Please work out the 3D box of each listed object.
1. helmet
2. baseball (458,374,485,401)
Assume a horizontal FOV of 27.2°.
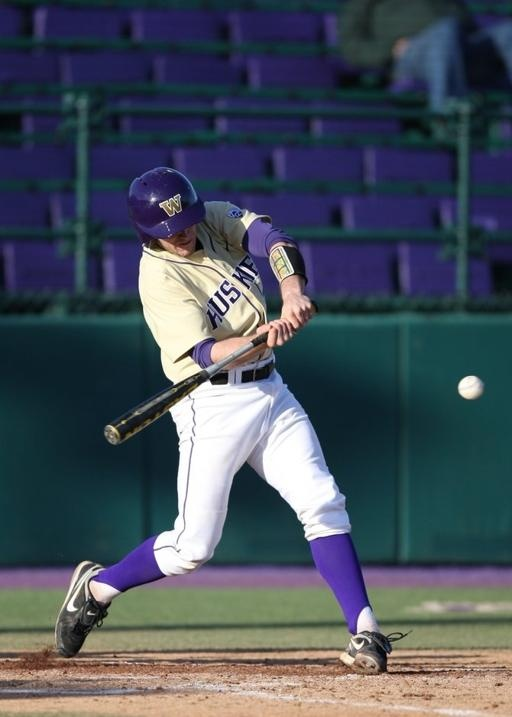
[{"bbox_3d":[-0.296,-0.481,3.246,0.195,0.129,0.254,-33,37,-15],"label":"helmet"},{"bbox_3d":[0.866,0.126,4.392,0.126,0.104,0.114,-4,-5,12],"label":"baseball"}]
